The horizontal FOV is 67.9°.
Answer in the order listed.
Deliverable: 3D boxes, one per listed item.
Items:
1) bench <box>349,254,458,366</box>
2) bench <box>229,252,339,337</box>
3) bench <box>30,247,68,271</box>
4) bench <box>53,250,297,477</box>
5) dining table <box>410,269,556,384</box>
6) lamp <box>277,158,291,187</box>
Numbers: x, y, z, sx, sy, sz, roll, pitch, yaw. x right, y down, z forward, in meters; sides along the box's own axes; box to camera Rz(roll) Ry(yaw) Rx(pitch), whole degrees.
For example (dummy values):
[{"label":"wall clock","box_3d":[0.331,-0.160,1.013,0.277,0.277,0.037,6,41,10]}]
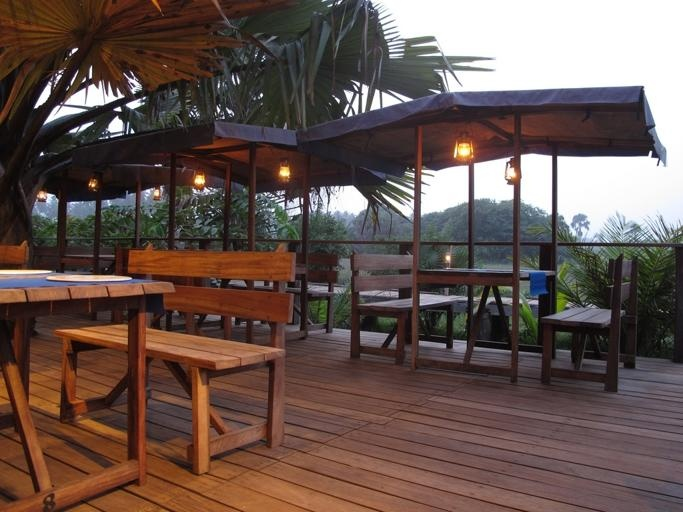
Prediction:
[{"label":"bench","box_3d":[0.741,0.566,5.558,0.743,1.104,1.857,0,-2,25]},{"label":"bench","box_3d":[-0.520,0.384,4.765,0.407,0.715,1.154,5,-6,-44]},{"label":"bench","box_3d":[-4.348,0.060,7.531,0.359,0.238,0.189,1,-5,-11]},{"label":"bench","box_3d":[-1.133,0.563,3.280,1.691,1.125,0.741,0,3,34]},{"label":"dining table","box_3d":[1.369,0.569,4.897,1.132,0.930,1.097,1,-2,31]},{"label":"lamp","box_3d":[-0.735,-1.046,6.394,0.251,0.408,0.243,0,0,-1]}]
